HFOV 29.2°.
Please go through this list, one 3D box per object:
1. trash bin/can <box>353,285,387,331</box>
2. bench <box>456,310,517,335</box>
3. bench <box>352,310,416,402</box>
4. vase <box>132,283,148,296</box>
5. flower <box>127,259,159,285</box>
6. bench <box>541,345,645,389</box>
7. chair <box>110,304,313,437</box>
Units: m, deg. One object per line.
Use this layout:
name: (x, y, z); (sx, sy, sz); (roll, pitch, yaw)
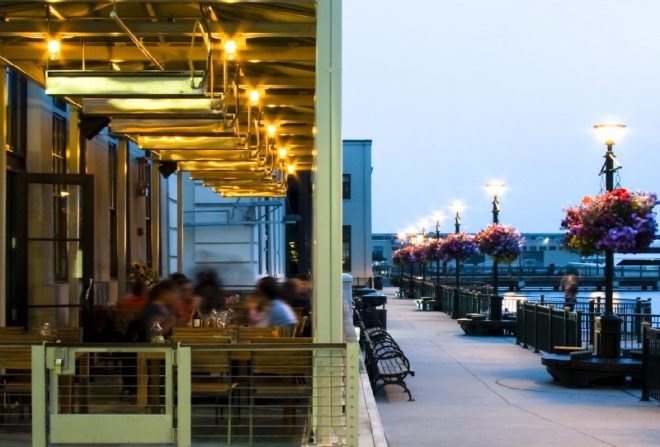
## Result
trash bin/can: (1.120, 2.188, 33.156); (0.770, 1.148, 0.828); (1, -3, -3)
bench: (4.195, 2.677, 33.789); (1.786, 0.529, 0.922); (0, -1, 8)
bench: (1.085, 2.698, 25.693); (1.507, 1.227, 5.122); (-7, 2, -2)
vase: (-3.835, 1.321, 25.512); (0.296, 0.293, 0.289); (-1, 7, 39)
flower: (-4.262, 1.165, 29.367); (0.851, 0.495, 0.789); (9, 2, -28)
bench: (5.152, 2.823, 24.706); (1.932, 0.710, 0.875); (-3, -6, 15)
chair: (-1.348, 2.429, 20.302); (2.034, 2.449, 1.596); (1, -6, -4)
